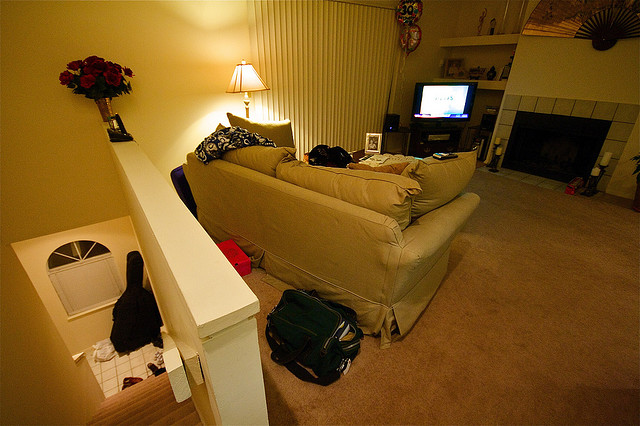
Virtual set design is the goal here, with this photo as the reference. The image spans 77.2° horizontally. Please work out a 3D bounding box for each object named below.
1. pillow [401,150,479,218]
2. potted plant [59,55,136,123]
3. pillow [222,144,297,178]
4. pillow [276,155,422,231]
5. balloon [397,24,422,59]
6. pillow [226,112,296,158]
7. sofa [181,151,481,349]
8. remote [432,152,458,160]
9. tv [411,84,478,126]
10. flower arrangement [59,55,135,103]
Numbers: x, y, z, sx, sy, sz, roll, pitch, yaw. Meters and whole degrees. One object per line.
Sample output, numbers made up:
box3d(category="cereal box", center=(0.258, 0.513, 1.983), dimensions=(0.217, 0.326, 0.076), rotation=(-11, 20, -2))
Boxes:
box3d(category="pillow", center=(1.152, -0.253, 3.829), dimensions=(0.948, 0.559, 0.304), rotation=(-15, 38, -36))
box3d(category="potted plant", center=(-2.307, -1.316, 4.456), dimensions=(0.754, 0.771, 0.737), rotation=(-6, 24, -19))
box3d(category="pillow", center=(-0.531, -0.596, 4.174), dimensions=(0.731, 0.255, 0.862), rotation=(-10, 20, -44))
box3d(category="pillow", center=(0.367, -0.200, 3.657), dimensions=(1.027, 0.386, 0.365), rotation=(10, -9, 37))
box3d(category="balloon", center=(1.381, -2.716, 6.242), dimensions=(0.301, 0.370, 0.191), rotation=(15, 26, 35))
box3d(category="pillow", center=(-0.840, -1.071, 5.348), dimensions=(1.074, 0.389, 1.106), rotation=(3, 34, -2))
box3d(category="sofa", center=(-0.145, -0.159, 4.467), dimensions=(3.005, 1.408, 1.658), rotation=(23, 40, 26))
box3d(category="remote", center=(1.149, -0.528, 3.685), dimensions=(0.189, 0.039, 0.107), rotation=(-5, 26, -11))
box3d(category="tv", center=(1.963, -1.744, 6.408), dimensions=(0.784, 0.568, 0.203), rotation=(1, 31, 1))
box3d(category="flower arrangement", center=(-2.389, -1.437, 4.302), dimensions=(0.614, 0.382, 0.613), rotation=(-7, 15, -16))
